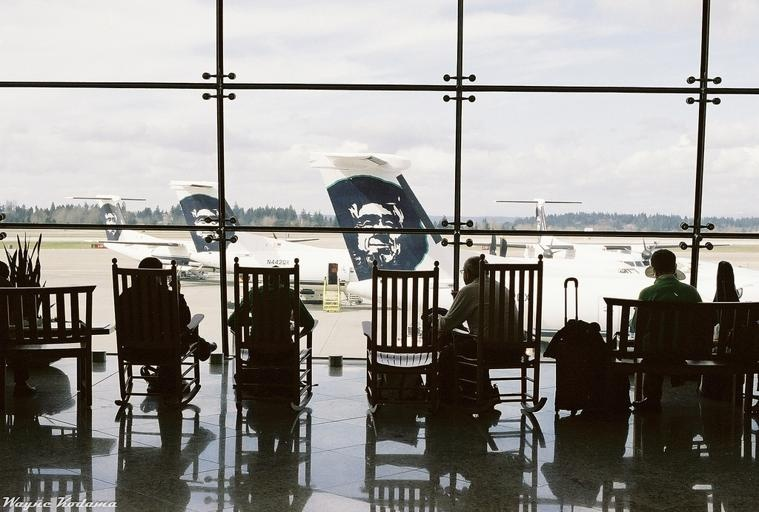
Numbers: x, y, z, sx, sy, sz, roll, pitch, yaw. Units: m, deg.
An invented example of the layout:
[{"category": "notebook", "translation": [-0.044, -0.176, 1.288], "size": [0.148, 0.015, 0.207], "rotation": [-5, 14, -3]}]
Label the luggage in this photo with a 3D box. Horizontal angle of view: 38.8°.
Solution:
[{"category": "luggage", "translation": [3.255, 1.439, 17.702], "size": [1.289, 2.203, 0.671], "rotation": [1, -4, -2]}]

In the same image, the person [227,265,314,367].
[{"category": "person", "translation": [-1.785, 0.943, 17.519], "size": [1.405, 1.575, 0.701], "rotation": [0, -6, -5]}]
